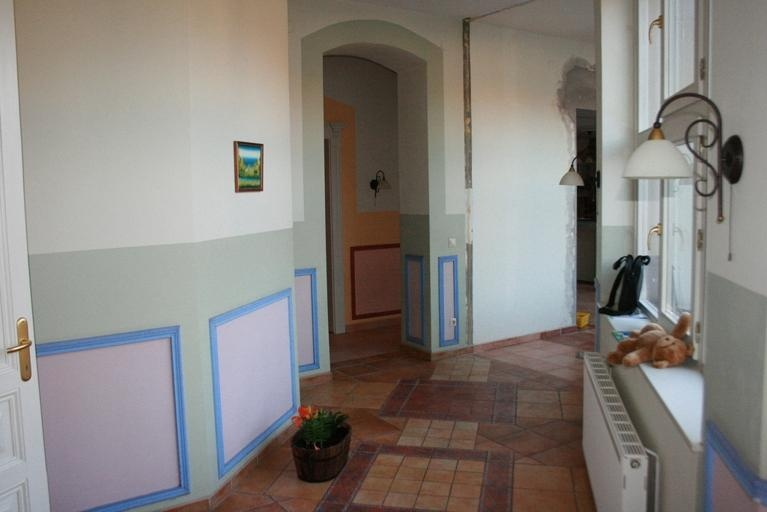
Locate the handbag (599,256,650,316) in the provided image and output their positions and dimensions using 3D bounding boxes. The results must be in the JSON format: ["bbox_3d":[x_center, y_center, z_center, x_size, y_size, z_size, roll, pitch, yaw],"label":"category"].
[{"bbox_3d":[2.004,0.214,4.558,0.350,0.500,0.386,-1,10,2],"label":"handbag"}]

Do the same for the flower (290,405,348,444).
[{"bbox_3d":[-0.484,1.241,4.044,0.338,0.235,0.344,0,0,19],"label":"flower"}]

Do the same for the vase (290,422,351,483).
[{"bbox_3d":[-0.457,1.462,4.076,0.372,0.288,0.502,5,8,16],"label":"vase"}]

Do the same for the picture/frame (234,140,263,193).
[{"bbox_3d":[-0.957,-0.644,3.918,0.037,0.382,0.390,-5,12,-44],"label":"picture/frame"}]

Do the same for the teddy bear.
[{"bbox_3d":[1.799,0.541,3.608,0.522,0.231,0.541,-17,12,-9],"label":"teddy bear"}]

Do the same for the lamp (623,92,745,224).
[{"bbox_3d":[1.513,-0.501,2.792,0.546,0.644,0.384,2,5,30],"label":"lamp"}]
